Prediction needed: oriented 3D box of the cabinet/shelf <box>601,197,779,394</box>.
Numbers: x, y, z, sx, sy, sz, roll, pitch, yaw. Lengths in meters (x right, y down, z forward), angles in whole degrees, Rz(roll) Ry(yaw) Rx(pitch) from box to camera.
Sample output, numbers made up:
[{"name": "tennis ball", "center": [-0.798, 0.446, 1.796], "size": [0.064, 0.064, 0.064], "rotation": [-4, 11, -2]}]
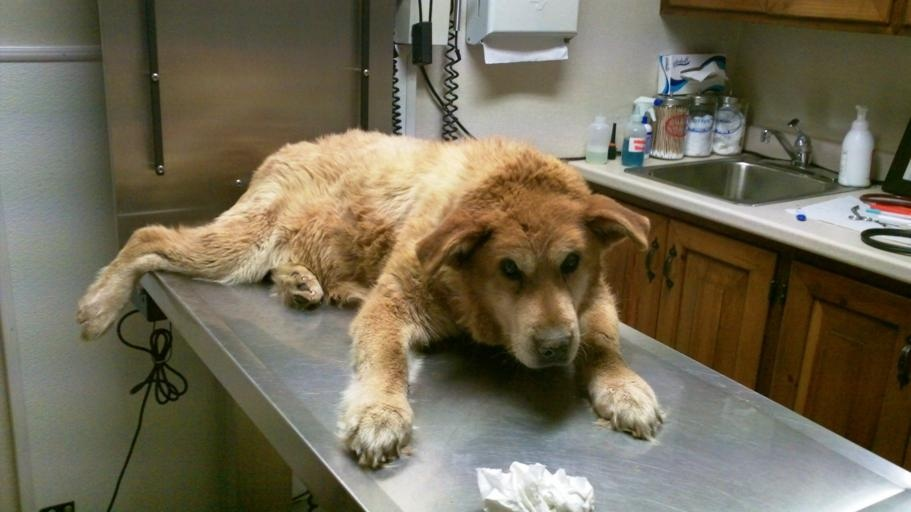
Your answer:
[{"name": "cabinet/shelf", "center": [1.134, 0.171, 3.155], "size": [0.498, 0.548, 0.904], "rotation": [-12, 24, -43]}]

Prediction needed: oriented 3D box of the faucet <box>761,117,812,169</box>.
[{"name": "faucet", "center": [1.976, -0.684, 4.052], "size": [0.279, 0.280, 0.352], "rotation": [7, 18, 26]}]

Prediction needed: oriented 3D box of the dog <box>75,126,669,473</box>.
[{"name": "dog", "center": [-0.336, 0.102, 2.554], "size": [1.314, 0.812, 1.684], "rotation": [6, 6, -43]}]

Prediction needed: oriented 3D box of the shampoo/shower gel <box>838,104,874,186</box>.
[{"name": "shampoo/shower gel", "center": [2.194, -0.591, 3.688], "size": [0.231, 0.427, 0.129], "rotation": [-11, 20, -27]}]
